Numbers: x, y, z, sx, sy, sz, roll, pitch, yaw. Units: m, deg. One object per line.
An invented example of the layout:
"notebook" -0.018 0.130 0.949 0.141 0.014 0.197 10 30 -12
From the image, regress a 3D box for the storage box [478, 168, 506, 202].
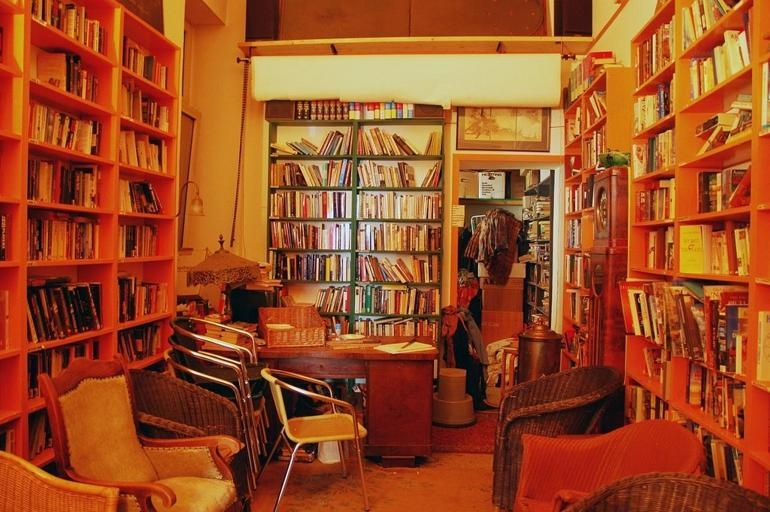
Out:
"storage box" 1.582 -1.090 9.823 0.441 0.421 0.426 -1 6 -14

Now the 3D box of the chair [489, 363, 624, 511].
"chair" 1.212 1.238 4.647 0.991 1.005 0.987 0 -1 17

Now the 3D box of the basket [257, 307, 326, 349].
"basket" -0.769 0.573 5.301 0.476 0.237 0.616 0 5 -11

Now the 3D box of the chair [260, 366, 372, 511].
"chair" -0.513 1.230 4.767 0.995 1.183 0.920 -1 1 -7

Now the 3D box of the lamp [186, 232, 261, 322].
"lamp" -1.412 0.156 5.529 0.586 0.591 0.588 12 18 37
